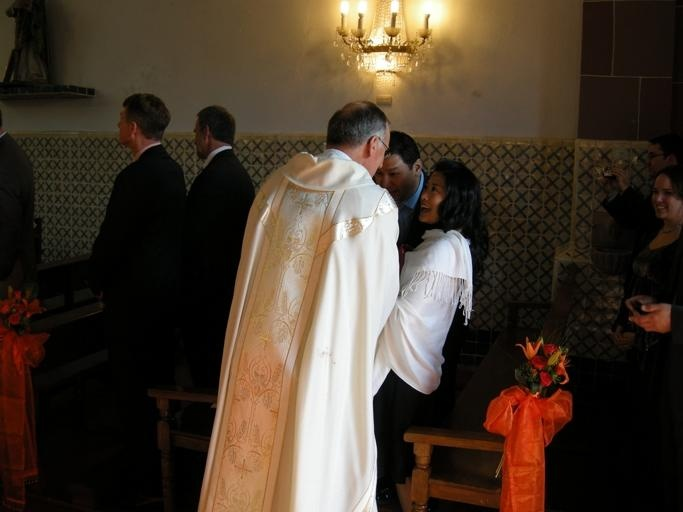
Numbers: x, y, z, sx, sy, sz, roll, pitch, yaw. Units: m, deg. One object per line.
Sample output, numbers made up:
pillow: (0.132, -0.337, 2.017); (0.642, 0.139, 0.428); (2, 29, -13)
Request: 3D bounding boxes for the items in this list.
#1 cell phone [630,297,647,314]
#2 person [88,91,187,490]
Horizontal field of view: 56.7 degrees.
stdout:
cell phone: (1.739, 0.289, 3.712); (0.073, 0.074, 0.055); (13, 16, -42)
person: (-1.358, 0.419, 4.378); (0.656, 2.328, 0.463); (-4, 11, -27)
